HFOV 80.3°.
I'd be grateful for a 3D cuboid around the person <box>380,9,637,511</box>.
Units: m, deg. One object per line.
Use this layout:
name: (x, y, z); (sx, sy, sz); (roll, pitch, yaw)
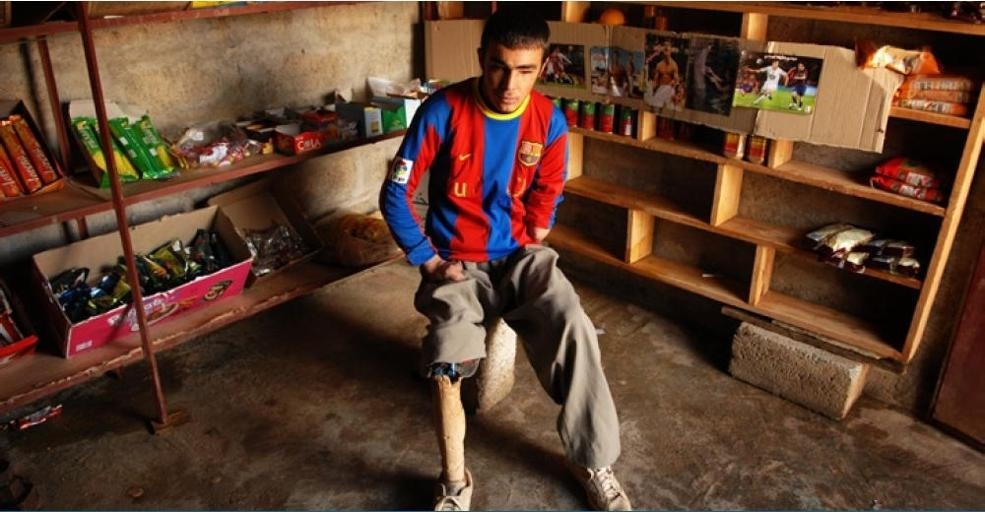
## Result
person: (-0.018, 0.039, 3.326); (1.146, 2.654, 1.165); (-6, 27, -11)
